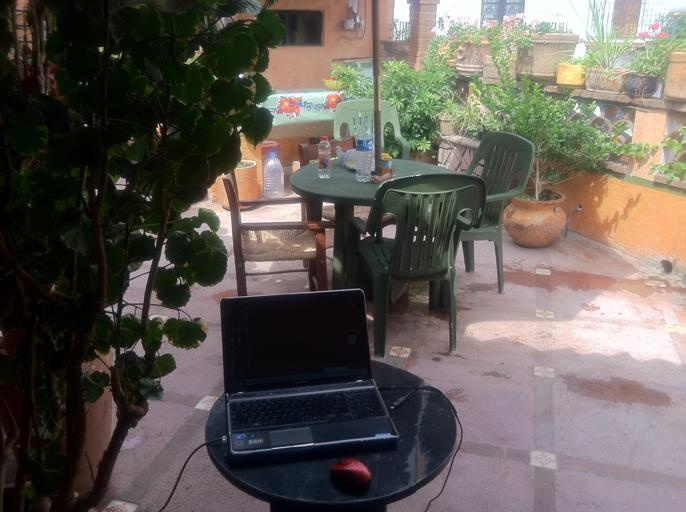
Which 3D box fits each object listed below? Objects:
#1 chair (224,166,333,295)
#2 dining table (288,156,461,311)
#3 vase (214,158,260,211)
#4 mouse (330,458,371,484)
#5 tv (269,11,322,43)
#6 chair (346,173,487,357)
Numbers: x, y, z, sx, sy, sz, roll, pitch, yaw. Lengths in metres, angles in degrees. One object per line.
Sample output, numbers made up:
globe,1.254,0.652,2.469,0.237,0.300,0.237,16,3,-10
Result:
chair,-0.374,-0.234,3.714,0.739,1.172,0.826,-2,31,-3
dining table,0.035,-0.326,3.627,0.838,0.687,0.894,5,24,14
vase,-1.067,-0.775,5.636,0.352,0.449,0.428,12,29,21
mouse,0.025,0.607,1.500,0.113,0.052,0.079,6,23,12
tv,-0.732,-3.692,8.589,0.842,0.646,0.071,0,-11,-2
chair,0.436,-0.040,3.358,0.731,1.193,0.884,3,24,8
